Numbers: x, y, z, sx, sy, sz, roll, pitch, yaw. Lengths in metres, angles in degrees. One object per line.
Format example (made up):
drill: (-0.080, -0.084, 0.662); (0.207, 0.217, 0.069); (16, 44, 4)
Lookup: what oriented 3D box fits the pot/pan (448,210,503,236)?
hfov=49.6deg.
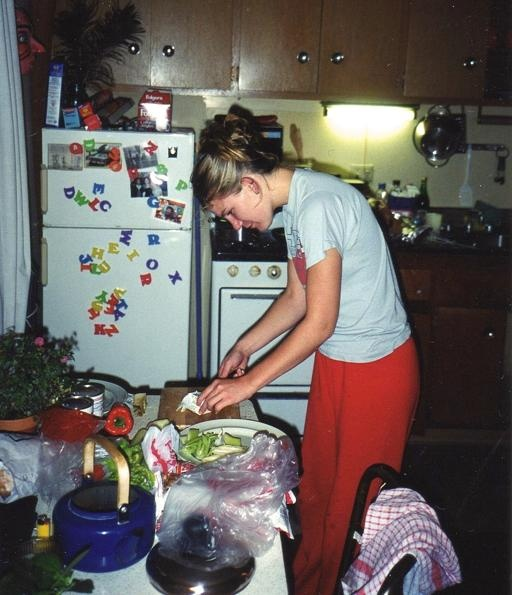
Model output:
pot/pan: (1.224, -0.426, 3.084); (0.214, 0.049, 0.195); (0, 22, 8)

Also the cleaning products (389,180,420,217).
cleaning products: (0.793, -0.555, 3.081); (0.230, 0.209, 0.164); (2, 1, 8)

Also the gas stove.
gas stove: (-0.017, -0.197, 2.544); (0.332, 0.195, 0.320); (0, 5, -1)

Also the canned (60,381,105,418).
canned: (-0.349, 0.197, 1.113); (0.070, 0.057, 0.066); (6, 9, 19)

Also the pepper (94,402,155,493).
pepper: (-0.210, 0.255, 0.916); (0.085, 0.105, 0.039); (0, -1, -36)

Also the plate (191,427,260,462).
plate: (-0.075, 0.274, 1.042); (0.123, 0.029, 0.120); (2, 9, -2)

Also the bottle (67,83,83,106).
bottle: (-0.767, -0.867, 2.368); (0.057, 0.117, 0.106); (2, 9, -6)

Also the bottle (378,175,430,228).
bottle: (0.802, -0.523, 2.994); (0.309, 0.297, 0.315); (-1, 6, -2)

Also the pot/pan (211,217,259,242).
pot/pan: (-0.107, -0.313, 2.679); (0.221, 0.154, 0.147); (8, -3, 33)

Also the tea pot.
tea pot: (-0.204, 0.271, 0.757); (0.130, 0.153, 0.132); (4, 7, -1)

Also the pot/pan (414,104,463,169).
pot/pan: (1.021, -0.881, 3.047); (0.302, 0.320, 0.097); (0, 9, -15)
